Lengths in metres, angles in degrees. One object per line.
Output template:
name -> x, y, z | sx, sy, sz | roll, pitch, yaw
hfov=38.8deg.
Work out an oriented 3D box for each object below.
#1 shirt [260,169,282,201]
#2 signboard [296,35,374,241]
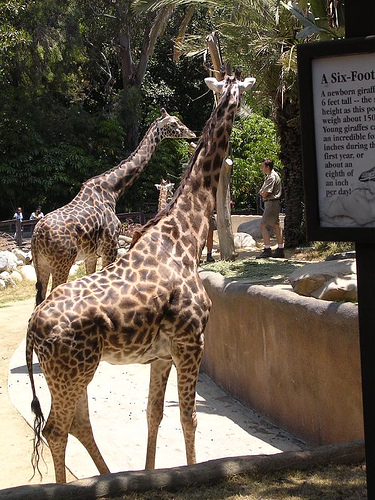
shirt -> 1.631, -1.275, 10.237 | 0.387, 0.626, 0.689 | -3, 9, 9
signboard -> 0.498, -0.355, 1.758 | 0.323, 0.654, 0.111 | 14, 12, 40
